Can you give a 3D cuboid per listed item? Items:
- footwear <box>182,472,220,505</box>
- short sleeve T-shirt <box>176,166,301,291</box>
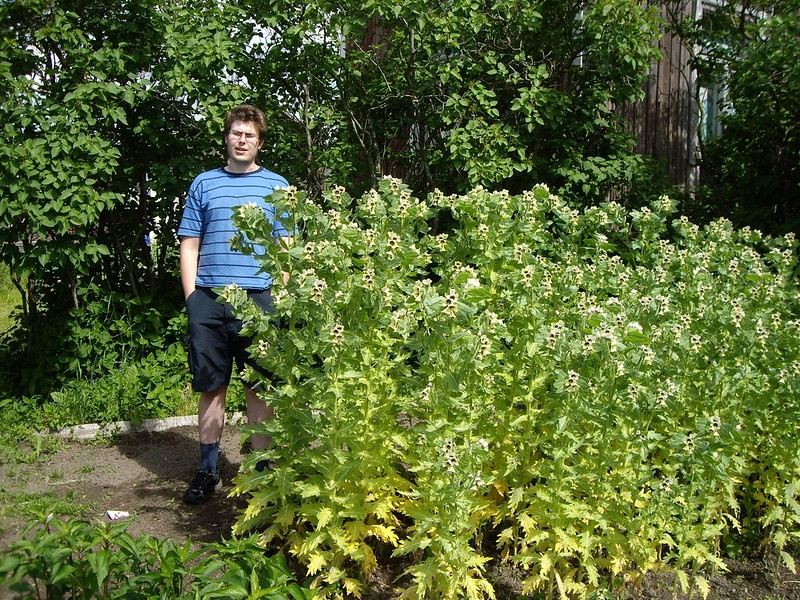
[{"bbox_3d":[-1.494,1.393,5.224,0.129,0.153,0.321,7,6,14],"label":"footwear"},{"bbox_3d":[-1.130,-0.479,4.900,1.079,1.136,0.576,1,1,-15],"label":"short sleeve T-shirt"}]
